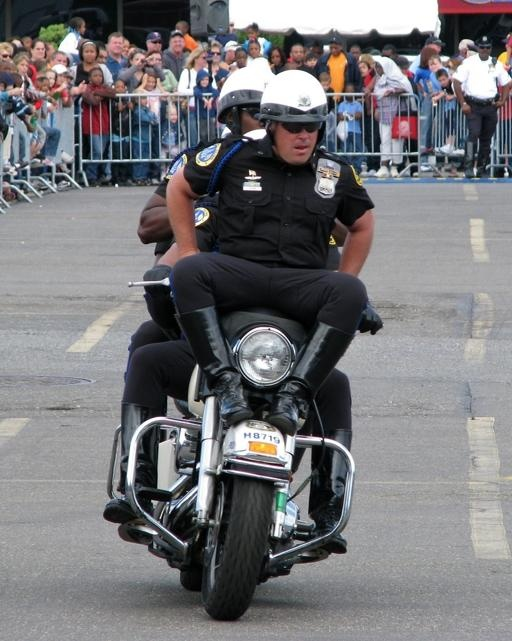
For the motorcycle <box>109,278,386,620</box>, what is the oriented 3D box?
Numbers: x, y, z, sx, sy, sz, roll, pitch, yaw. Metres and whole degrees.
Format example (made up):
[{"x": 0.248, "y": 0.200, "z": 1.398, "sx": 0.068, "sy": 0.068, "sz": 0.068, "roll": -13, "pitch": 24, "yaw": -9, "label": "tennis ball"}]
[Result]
[{"x": -0.234, "y": 0.434, "z": 4.578, "sx": 0.715, "sy": 0.758, "sz": 1.202, "roll": 19, "pitch": -5, "yaw": -9, "label": "motorcycle"}]

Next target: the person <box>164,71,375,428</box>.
[{"x": 0.036, "y": -0.233, "z": 4.423, "sx": 0.742, "sy": 1.017, "sz": 0.633, "roll": 12, "pitch": 13, "yaw": 18, "label": "person"}]

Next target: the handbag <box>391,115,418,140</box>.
[{"x": 2.346, "y": -3.080, "z": 22.138, "sx": 0.391, "sy": 0.306, "sz": 0.130, "roll": -1, "pitch": 8, "yaw": -1, "label": "handbag"}]

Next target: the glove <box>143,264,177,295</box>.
[{"x": -0.298, "y": -0.137, "z": 4.484, "sx": 0.085, "sy": 0.047, "sz": 0.104, "roll": 1, "pitch": -9, "yaw": -8, "label": "glove"}]

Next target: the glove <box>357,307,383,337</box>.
[{"x": 0.372, "y": 0.007, "z": 4.617, "sx": 0.080, "sy": 0.090, "sz": 0.037, "roll": -4, "pitch": 17, "yaw": -21, "label": "glove"}]

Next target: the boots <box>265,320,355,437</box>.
[{"x": 0.133, "y": 0.180, "z": 4.230, "sx": 0.181, "sy": 0.122, "sz": 0.413, "roll": 21, "pitch": 47, "yaw": 19, "label": "boots"}]

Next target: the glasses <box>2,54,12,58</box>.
[{"x": -3.358, "y": -3.576, "z": 18.898, "sx": 0.139, "sy": 0.055, "sz": 0.160, "roll": 1, "pitch": 8, "yaw": -5, "label": "glasses"}]

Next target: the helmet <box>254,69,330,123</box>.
[{"x": 0.120, "y": -0.719, "z": 4.582, "sx": 0.192, "sy": 0.155, "sz": 0.207, "roll": -3, "pitch": -3, "yaw": -21, "label": "helmet"}]

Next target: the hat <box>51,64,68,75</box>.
[{"x": -2.851, "y": -3.682, "z": 20.458, "sx": 0.195, "sy": 0.091, "sz": 0.232, "roll": 0, "pitch": 0, "yaw": -7, "label": "hat"}]
